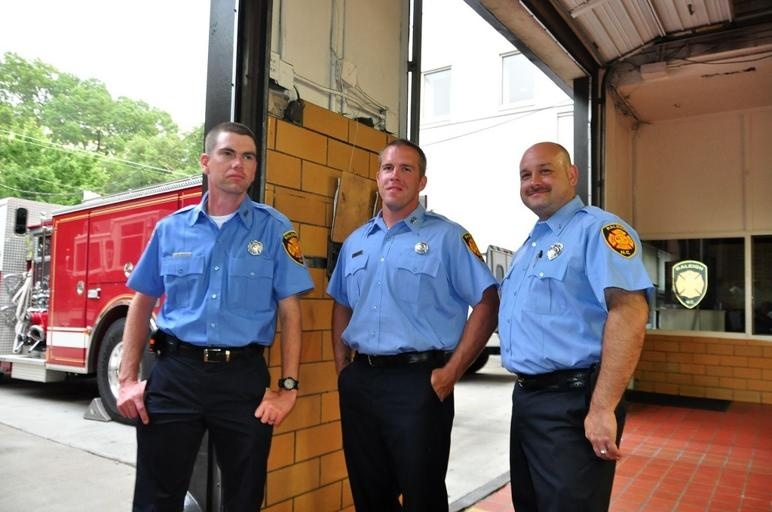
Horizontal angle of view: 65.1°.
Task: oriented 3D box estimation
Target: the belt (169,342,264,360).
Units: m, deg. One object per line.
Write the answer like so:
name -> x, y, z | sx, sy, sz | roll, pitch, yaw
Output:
belt -> -1.112, 0.631, 3.949 | 0.585, 0.125, 0.108 | 0, -3, -11

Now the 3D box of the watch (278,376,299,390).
watch -> -0.638, 0.842, 3.969 | 0.104, 0.079, 0.097 | 4, -15, -8
